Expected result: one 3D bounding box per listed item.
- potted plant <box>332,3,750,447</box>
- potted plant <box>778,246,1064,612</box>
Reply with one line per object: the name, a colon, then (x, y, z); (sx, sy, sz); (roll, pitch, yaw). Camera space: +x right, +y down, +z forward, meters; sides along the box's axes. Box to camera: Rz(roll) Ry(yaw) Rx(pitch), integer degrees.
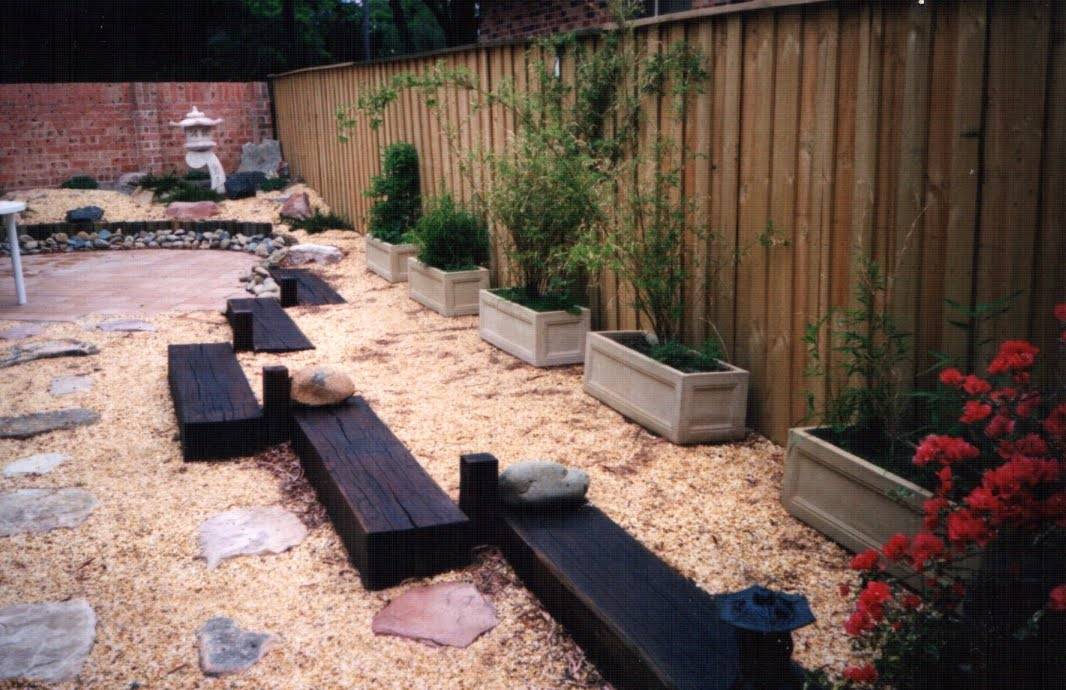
potted plant: (0.263, -1.145, 6.453); (1.072, 2.641, 3.732); (-11, 20, -20)
potted plant: (1.815, 0.400, 3.926); (0.787, 1.412, 1.479); (-2, 11, -15)
